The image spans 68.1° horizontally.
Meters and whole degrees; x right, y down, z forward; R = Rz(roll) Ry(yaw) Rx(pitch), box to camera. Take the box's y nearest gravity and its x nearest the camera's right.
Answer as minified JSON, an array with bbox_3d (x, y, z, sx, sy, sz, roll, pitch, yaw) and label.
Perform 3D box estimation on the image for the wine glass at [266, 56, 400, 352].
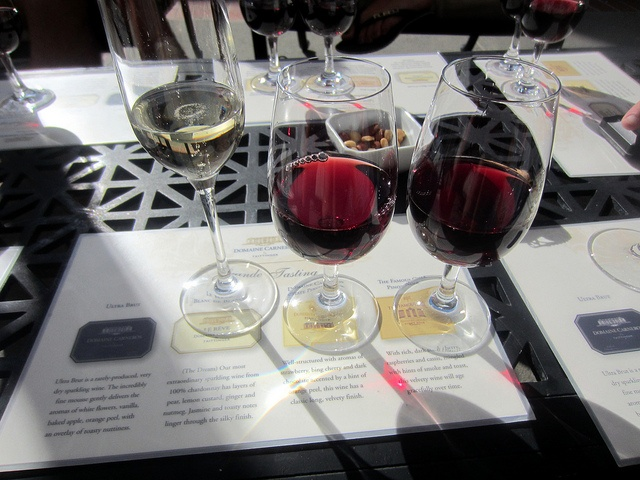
[{"bbox_3d":[0.026,-0.028,0.735,0.224,0.422,0.237,-1,39,-1],"label":"wine glass"}]

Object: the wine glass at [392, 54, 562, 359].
[{"bbox_3d":[0.159,-0.050,0.796,0.275,0.452,0.346,27,42,17],"label":"wine glass"}]
